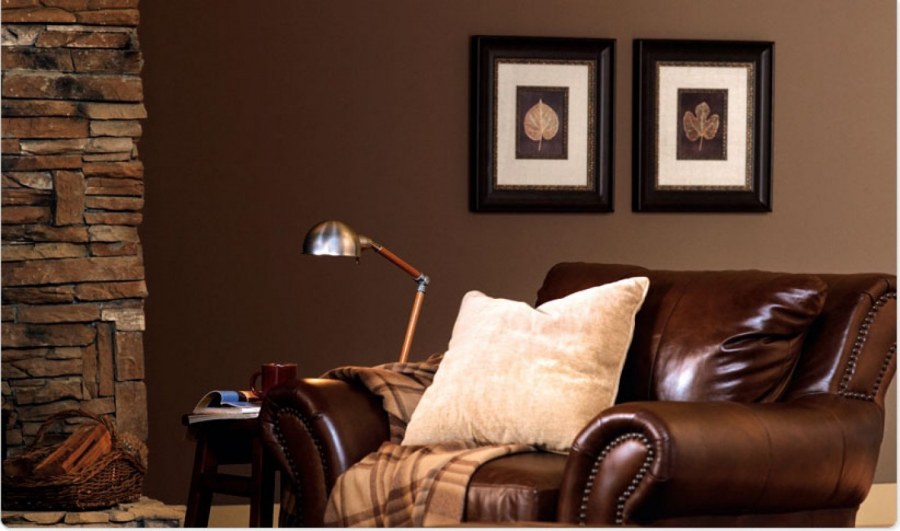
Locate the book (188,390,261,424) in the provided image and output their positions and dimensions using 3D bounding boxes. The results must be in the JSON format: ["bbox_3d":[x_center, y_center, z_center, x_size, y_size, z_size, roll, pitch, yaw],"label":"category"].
[{"bbox_3d":[-1.065,0.682,4.445,0.352,0.148,0.207,3,3,10],"label":"book"}]

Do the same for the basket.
[{"bbox_3d":[-1.943,0.984,4.733,0.712,0.490,0.362,2,4,-15],"label":"basket"}]

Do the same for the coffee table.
[{"bbox_3d":[-1.059,0.965,4.406,0.565,0.595,0.568,-2,-16,7],"label":"coffee table"}]

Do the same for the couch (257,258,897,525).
[{"bbox_3d":[0.570,0.642,4.152,2.703,1.345,1.059,4,4,14],"label":"couch"}]
